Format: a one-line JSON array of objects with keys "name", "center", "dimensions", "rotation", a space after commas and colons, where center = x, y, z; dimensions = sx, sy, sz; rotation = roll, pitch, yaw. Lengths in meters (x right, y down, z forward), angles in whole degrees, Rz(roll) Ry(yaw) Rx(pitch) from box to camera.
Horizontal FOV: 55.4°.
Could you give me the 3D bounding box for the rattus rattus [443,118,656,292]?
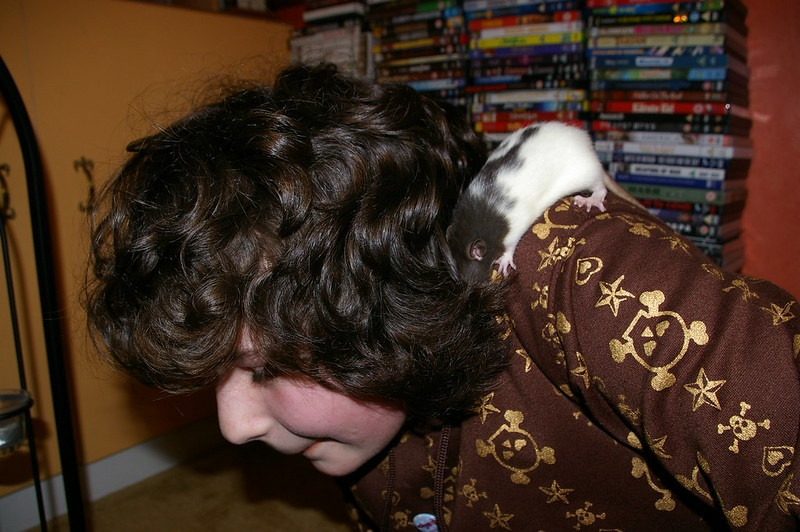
[{"name": "rattus rattus", "center": [0.284, -0.172, 1.656], "dimensions": [0.540, 0.176, 0.226], "rotation": [-45, 8, -15]}]
